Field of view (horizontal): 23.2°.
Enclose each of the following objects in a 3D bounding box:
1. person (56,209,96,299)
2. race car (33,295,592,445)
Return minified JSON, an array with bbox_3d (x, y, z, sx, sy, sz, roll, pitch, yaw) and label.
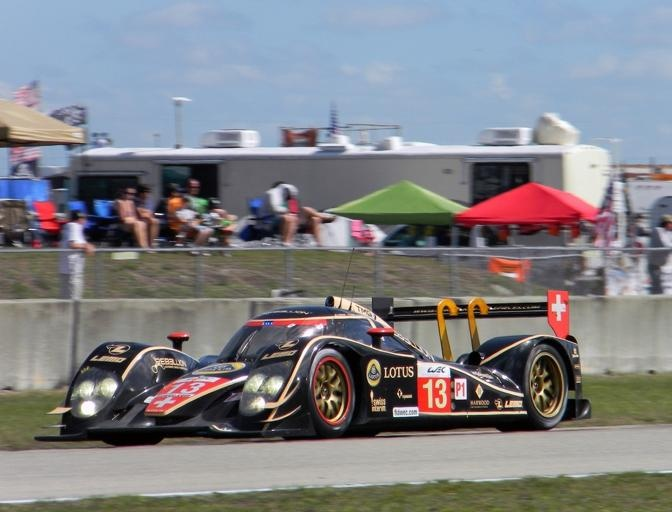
[{"bbox_3d":[-3.621,0.032,22.845,0.465,0.952,1.415,-1,0,-8],"label":"person"},{"bbox_3d":[0.145,1.497,18.990,4.340,0.968,2.720,4,-9,-38],"label":"race car"}]
